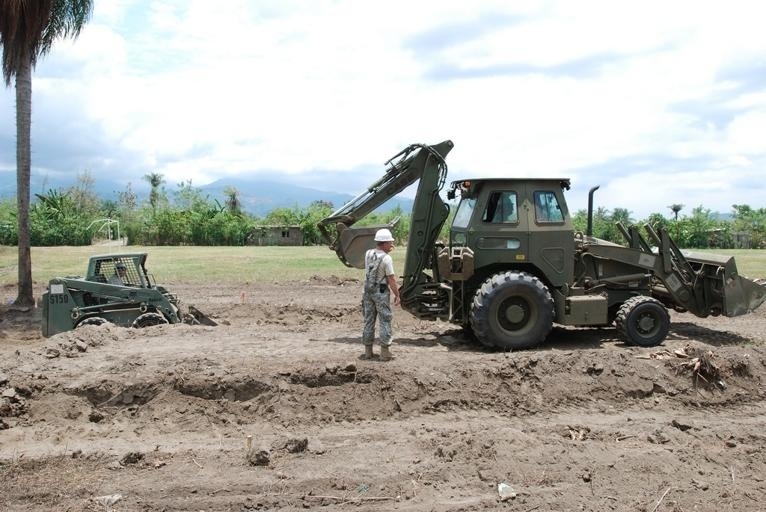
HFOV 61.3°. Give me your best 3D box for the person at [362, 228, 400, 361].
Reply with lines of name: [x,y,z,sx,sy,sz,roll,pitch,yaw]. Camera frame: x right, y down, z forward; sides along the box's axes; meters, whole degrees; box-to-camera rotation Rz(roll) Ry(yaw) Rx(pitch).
person: [-0.062,0.710,11.741,0.674,2.360,0.492,1,1,12]

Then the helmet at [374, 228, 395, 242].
helmet: [0.008,-0.368,11.721,0.299,0.159,0.240,-3,5,9]

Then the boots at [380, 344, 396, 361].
boots: [0.057,1.782,11.721,0.332,0.307,0.169,-1,5,-31]

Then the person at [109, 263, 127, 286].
person: [-5.666,0.410,13.961,0.415,0.718,0.368,3,4,-21]

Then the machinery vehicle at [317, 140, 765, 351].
machinery vehicle: [3.044,-0.418,14.221,8.632,3.896,4.246,-3,5,-8]

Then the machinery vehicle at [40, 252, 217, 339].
machinery vehicle: [-5.578,0.827,14.281,3.338,1.622,1.688,0,-1,-14]
